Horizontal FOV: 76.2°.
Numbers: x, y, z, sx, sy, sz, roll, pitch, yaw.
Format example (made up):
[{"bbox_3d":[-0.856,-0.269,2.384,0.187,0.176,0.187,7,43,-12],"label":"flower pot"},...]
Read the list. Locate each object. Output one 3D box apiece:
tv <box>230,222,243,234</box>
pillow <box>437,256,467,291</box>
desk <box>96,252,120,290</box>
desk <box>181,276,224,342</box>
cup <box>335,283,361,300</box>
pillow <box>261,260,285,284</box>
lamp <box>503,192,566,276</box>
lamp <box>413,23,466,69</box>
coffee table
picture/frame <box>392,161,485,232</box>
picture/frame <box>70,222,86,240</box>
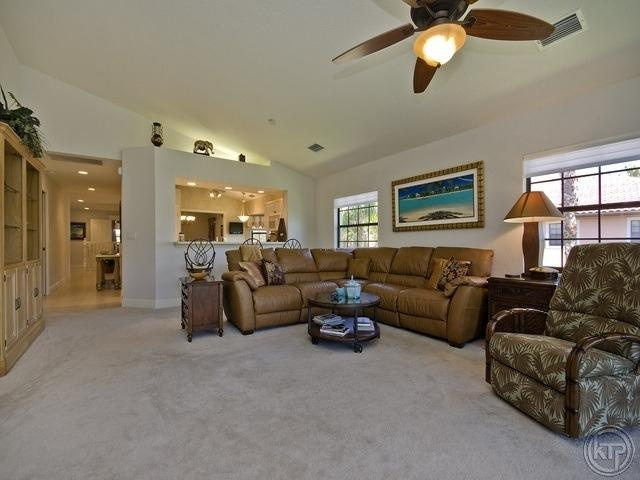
[{"bbox_3d":[-2.354,-0.343,11.428,0.042,0.243,0.320,-1,-1,38],"label":"tv"},{"bbox_3d":[1.776,0.434,5.202,0.461,0.158,0.496,-8,20,21],"label":"pillow"},{"bbox_3d":[-4.769,0.629,9.078,0.520,0.729,0.996,-1,6,-36],"label":"desk"},{"bbox_3d":[-1.429,1.053,5.299,0.442,0.732,0.769,-3,-29,-10],"label":"desk"},{"bbox_3d":[0.343,0.621,4.916,0.224,0.151,0.183,2,-8,-11],"label":"cup"},{"bbox_3d":[-0.650,0.423,5.696,0.090,0.325,0.310,-26,-17,30],"label":"pillow"},{"bbox_3d":[2.501,-0.065,4.744,0.533,0.943,0.576,-1,-4,5],"label":"lamp"},{"bbox_3d":[1.017,-1.661,3.476,0.344,0.145,0.350,-9,-14,43],"label":"lamp"},{"bbox_3d":[0.308,0.967,5.023,0.933,0.587,0.927,-4,6,-35],"label":"coffee table"},{"bbox_3d":[1.719,-0.613,6.086,1.348,0.871,0.027,-6,-9,34],"label":"picture/frame"},{"bbox_3d":[-8.061,-0.303,13.520,0.592,0.640,0.039,1,-1,-44],"label":"picture/frame"}]
